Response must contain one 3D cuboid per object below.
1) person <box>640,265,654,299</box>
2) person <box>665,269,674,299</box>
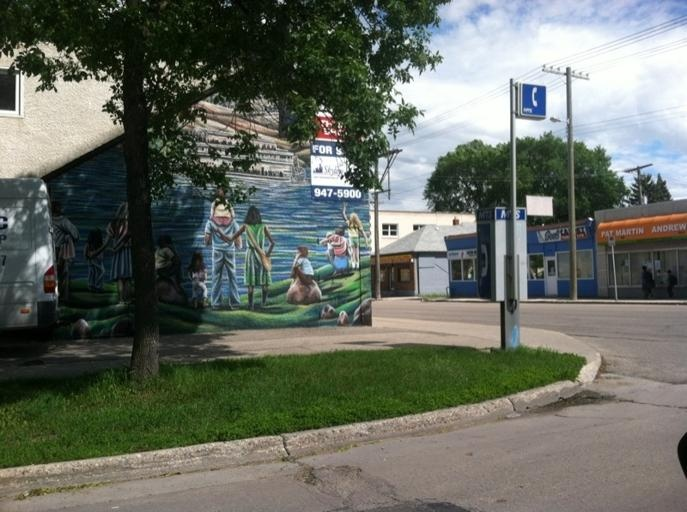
[{"bbox_3d":[15.486,1.321,31.792,0.530,1.601,1.267,3,5,25],"label":"person"},{"bbox_3d":[16.286,1.348,30.953,0.433,1.344,0.868,3,5,27],"label":"person"}]
